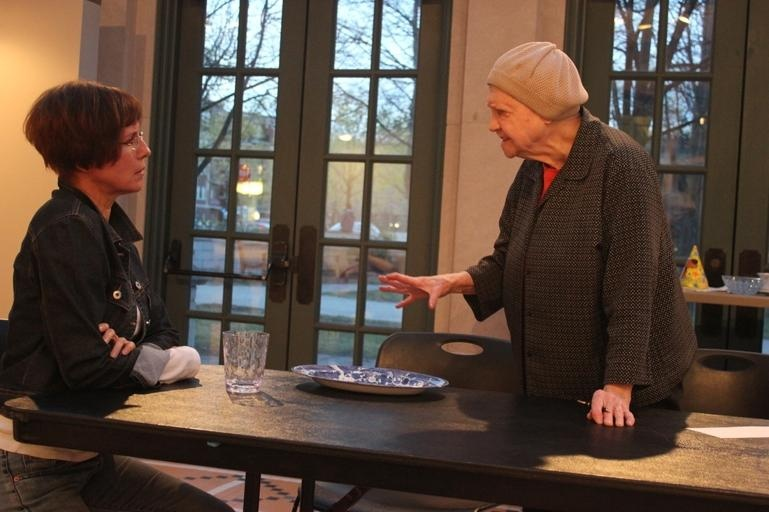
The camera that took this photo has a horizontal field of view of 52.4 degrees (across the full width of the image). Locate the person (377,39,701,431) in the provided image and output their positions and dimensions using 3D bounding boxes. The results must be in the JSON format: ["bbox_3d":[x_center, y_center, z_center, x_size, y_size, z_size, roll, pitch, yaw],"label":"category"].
[{"bbox_3d":[0.657,-0.023,3.295,1.159,1.825,1.280,2,-3,-21],"label":"person"}]

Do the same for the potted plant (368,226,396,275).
[{"bbox_3d":[-0.014,0.000,4.126,0.196,0.181,0.085,3,3,12],"label":"potted plant"}]

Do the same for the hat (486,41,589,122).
[{"bbox_3d":[0.486,-0.558,2.538,0.310,0.224,0.219,7,12,-3],"label":"hat"}]

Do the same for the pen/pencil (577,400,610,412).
[{"bbox_3d":[0.614,0.439,2.316,0.021,0.025,0.096,-10,11,-18],"label":"pen/pencil"}]

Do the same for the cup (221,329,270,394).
[{"bbox_3d":[-0.408,0.305,2.283,0.174,0.185,0.169,3,0,0],"label":"cup"}]
